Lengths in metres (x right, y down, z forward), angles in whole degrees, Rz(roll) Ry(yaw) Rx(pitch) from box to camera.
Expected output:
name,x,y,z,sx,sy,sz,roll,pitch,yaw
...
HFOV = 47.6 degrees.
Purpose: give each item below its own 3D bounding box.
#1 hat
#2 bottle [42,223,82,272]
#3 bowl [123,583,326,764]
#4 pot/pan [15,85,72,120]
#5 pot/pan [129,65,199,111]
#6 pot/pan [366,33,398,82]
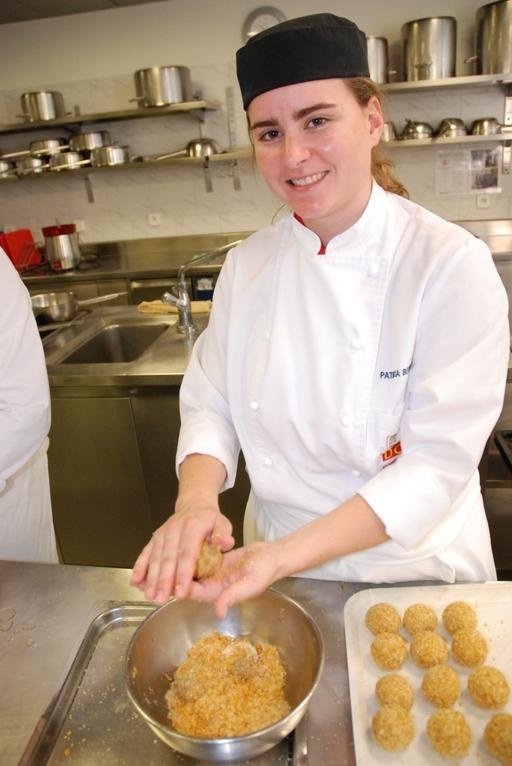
name,x,y,z,sx,sy,sz,roll,pitch,yaw
hat,0.066,-0.479,0.844,0.160,0.092,0.166,-18,6,11
bottle,-1.478,-1.014,4.398,0.243,0.323,0.231,-4,15,1
bowl,-0.035,0.358,0.730,0.240,0.128,0.284,-8,19,-1
pot/pan,-1.552,-1.981,4.162,0.286,0.198,0.274,-4,26,-9
pot/pan,-0.615,-1.968,3.863,0.327,0.195,0.317,-10,23,-19
pot/pan,0.742,-1.977,3.592,0.160,0.252,0.150,-10,15,-30
